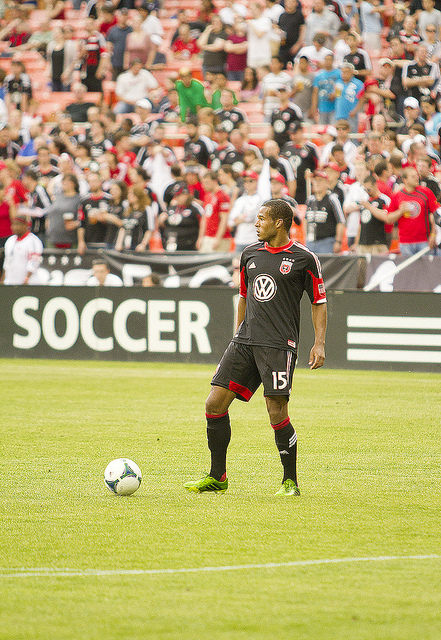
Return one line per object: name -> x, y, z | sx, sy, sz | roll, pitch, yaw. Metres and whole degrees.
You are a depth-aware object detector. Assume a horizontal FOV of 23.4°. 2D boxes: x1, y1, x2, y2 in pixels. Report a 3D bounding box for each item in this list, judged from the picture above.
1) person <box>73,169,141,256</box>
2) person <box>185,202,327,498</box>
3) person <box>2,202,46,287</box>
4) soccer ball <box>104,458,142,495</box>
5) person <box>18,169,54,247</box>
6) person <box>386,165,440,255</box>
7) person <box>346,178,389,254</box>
person -> -1.575, -1.448, 14.245 | 0.441, 0.985, 0.890 | -3, 6, -41
person -> 0.224, 0.169, 6.175 | 0.742, 1.691, 0.364 | 1, 4, 10
person -> -2.646, -1.012, 14.252 | 0.594, 1.094, 1.463 | 0, 4, -10
soccer ball -> -0.569, 0.902, 6.087 | 0.216, 0.205, 0.150 | 1, 4, 6
person -> -2.606, -1.523, 14.946 | 0.469, 1.324, 0.520 | 6, -34, -16
person -> 2.243, -1.268, 12.487 | 0.616, 1.008, 0.457 | 2, 4, 11
person -> 1.806, -1.245, 12.827 | 0.414, 0.865, 0.688 | 1, 4, 7
